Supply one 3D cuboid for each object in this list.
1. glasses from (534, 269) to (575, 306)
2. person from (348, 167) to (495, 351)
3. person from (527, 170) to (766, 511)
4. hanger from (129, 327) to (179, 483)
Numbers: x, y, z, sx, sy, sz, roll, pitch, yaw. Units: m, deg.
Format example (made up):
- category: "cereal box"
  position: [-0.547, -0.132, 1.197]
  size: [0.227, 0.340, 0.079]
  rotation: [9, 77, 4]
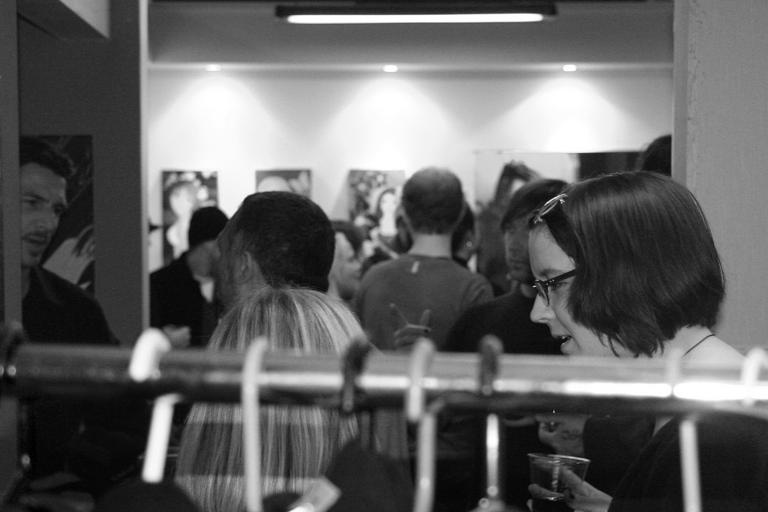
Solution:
- category: "glasses"
  position: [0.397, 0.073, 1.950]
  size: [0.086, 0.026, 0.078]
  rotation: [-12, -6, -8]
- category: "person"
  position: [0.130, 0.019, 2.535]
  size: [0.566, 0.706, 0.266]
  rotation: [3, 18, -1]
- category: "person"
  position: [0.576, 0.191, 1.806]
  size: [0.369, 0.761, 0.594]
  rotation: [3, -2, -19]
- category: "hanger"
  position: [-0.358, 0.227, 1.292]
  size: [0.055, 0.200, 0.123]
  rotation: [4, -7, -20]
